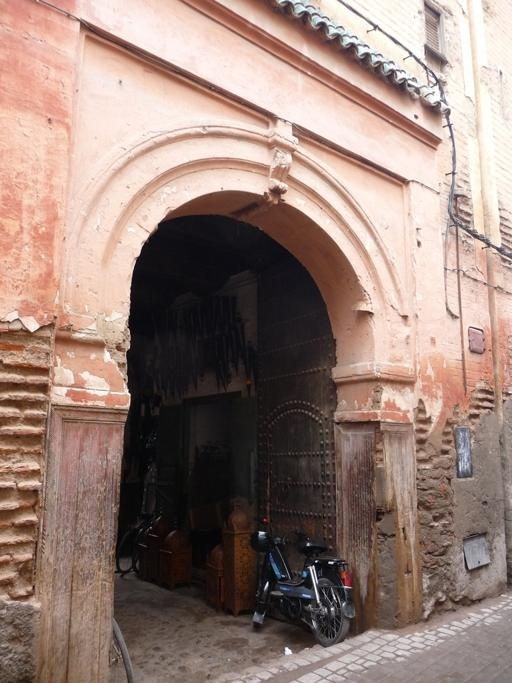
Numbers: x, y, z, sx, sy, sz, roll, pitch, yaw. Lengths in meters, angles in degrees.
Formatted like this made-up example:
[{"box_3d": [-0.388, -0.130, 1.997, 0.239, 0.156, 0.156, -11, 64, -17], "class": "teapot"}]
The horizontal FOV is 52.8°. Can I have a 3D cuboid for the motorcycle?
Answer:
[{"box_3d": [0.434, 2.195, 4.625, 0.577, 0.882, 1.259, 7, -15, -35], "class": "motorcycle"}]
